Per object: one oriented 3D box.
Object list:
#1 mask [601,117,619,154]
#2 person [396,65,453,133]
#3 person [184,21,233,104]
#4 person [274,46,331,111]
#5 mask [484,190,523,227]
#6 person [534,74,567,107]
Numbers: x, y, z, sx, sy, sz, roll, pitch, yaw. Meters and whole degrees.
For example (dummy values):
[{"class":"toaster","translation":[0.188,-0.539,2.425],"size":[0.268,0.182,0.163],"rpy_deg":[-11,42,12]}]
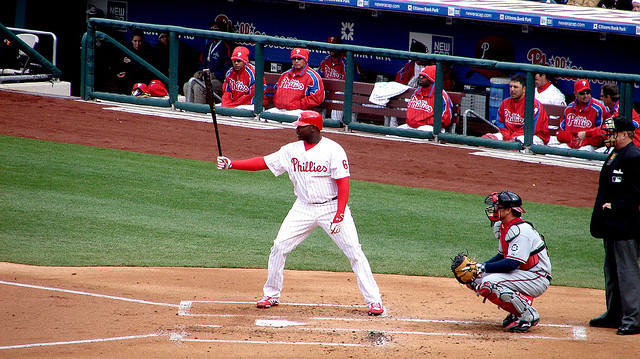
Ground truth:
[{"class":"mask","translation":[5.139,-0.794,19.691],"size":[0.264,0.537,0.320],"rpy_deg":[6,8,4]},{"class":"person","translation":[2.531,-1.825,26.460],"size":[1.180,1.537,1.254],"rpy_deg":[-16,32,-31]},{"class":"person","translation":[-2.842,-2.706,28.168],"size":[1.380,2.315,1.116],"rpy_deg":[-10,20,-34]},{"class":"person","translation":[-0.405,-2.391,26.830],"size":[1.316,1.544,0.523],"rpy_deg":[5,8,6]},{"class":"mask","translation":[3.284,0.496,19.511],"size":[0.800,0.545,0.489],"rpy_deg":[2,8,14]},{"class":"person","translation":[5.398,-2.050,26.144],"size":[0.994,0.503,0.277],"rpy_deg":[-6,38,15]}]
